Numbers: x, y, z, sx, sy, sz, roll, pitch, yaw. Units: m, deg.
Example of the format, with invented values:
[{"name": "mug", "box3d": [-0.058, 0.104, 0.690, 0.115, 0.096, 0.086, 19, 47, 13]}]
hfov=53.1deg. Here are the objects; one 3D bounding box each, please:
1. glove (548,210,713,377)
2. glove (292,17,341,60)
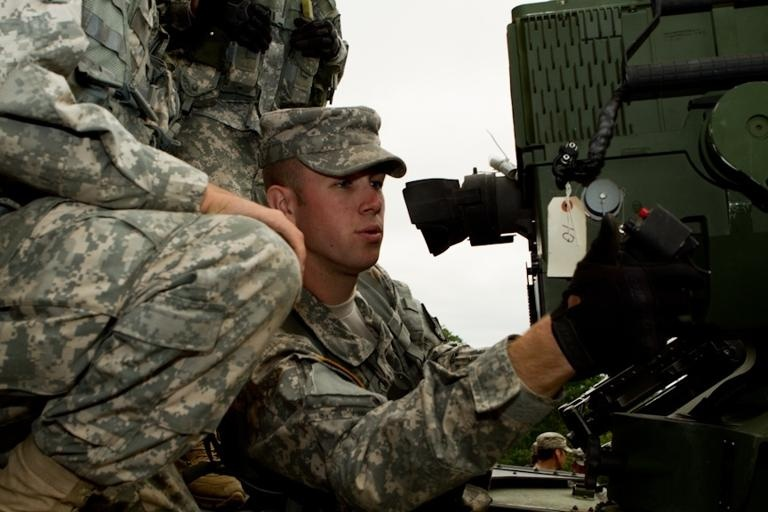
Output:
[{"name": "glove", "box3d": [0.942, 0.115, 2.907, 0.553, 0.644, 0.302, 49, -13, -23]}, {"name": "glove", "box3d": [-0.472, -1.569, 5.641, 0.313, 0.261, 0.160, 12, 29, 35]}]
